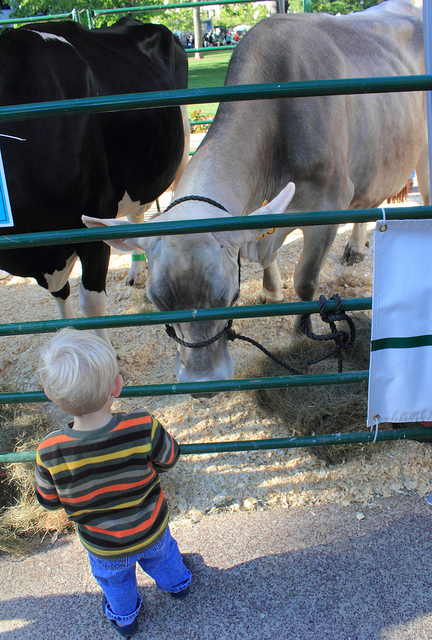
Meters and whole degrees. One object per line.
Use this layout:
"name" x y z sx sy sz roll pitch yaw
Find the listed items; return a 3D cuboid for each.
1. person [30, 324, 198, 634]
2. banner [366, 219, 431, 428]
"person" -0.330 0.503 1.859 0.436 1.054 0.288 -15 27 -16
"banner" 0.592 0.029 1.912 0.209 0.708 0.169 -1 26 13
